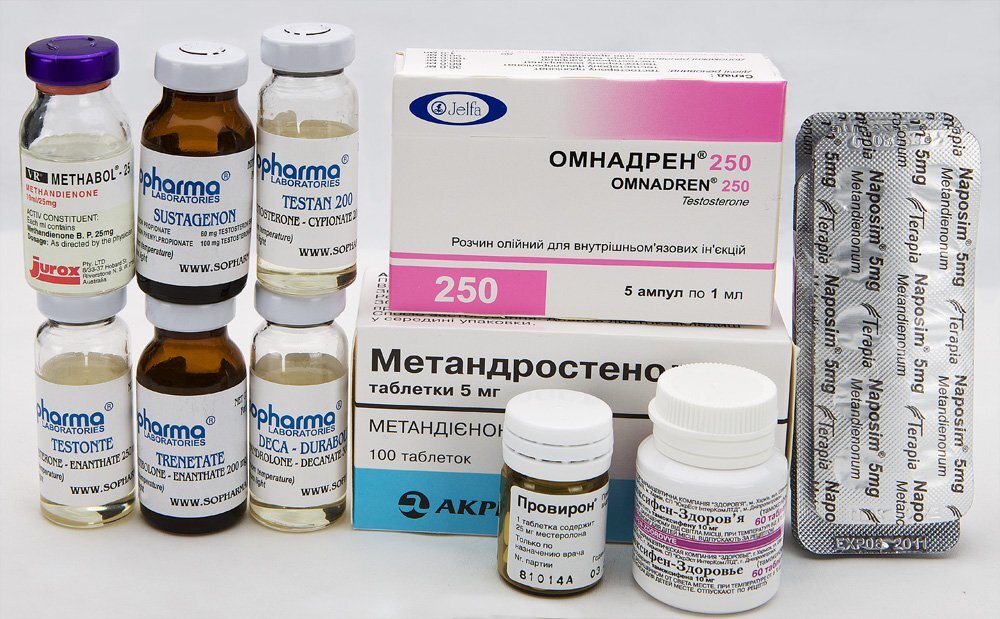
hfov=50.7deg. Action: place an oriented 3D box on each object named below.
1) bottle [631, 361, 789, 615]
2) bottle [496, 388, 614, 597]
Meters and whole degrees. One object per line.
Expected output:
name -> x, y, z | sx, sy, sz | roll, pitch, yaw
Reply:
bottle -> 0.262, 0.222, 1.312 | 0.177, 0.273, 0.159 | 3, 22, 13
bottle -> 0.070, 0.230, 1.321 | 0.130, 0.236, 0.133 | -2, 22, 1
